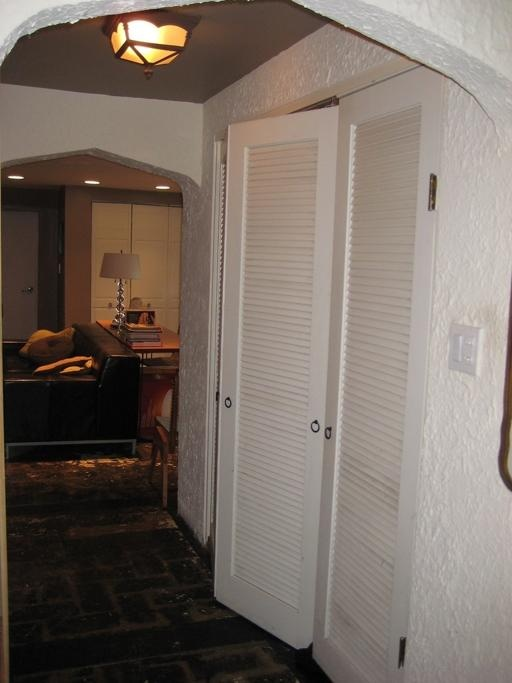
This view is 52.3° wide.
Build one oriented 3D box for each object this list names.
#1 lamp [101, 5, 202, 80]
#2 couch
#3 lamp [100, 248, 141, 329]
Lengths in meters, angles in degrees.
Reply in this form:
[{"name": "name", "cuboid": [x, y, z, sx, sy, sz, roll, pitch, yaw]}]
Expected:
[{"name": "lamp", "cuboid": [-0.309, -0.847, 1.604, 0.257, 0.190, 0.266, 1, -40, 5]}, {"name": "couch", "cuboid": [-1.714, 0.423, 4.838, 1.168, 0.952, 1.352, 0, 5, -19]}, {"name": "lamp", "cuboid": [-1.645, -0.637, 6.302, 0.573, 0.941, 0.618, 2, 22, -10]}]
